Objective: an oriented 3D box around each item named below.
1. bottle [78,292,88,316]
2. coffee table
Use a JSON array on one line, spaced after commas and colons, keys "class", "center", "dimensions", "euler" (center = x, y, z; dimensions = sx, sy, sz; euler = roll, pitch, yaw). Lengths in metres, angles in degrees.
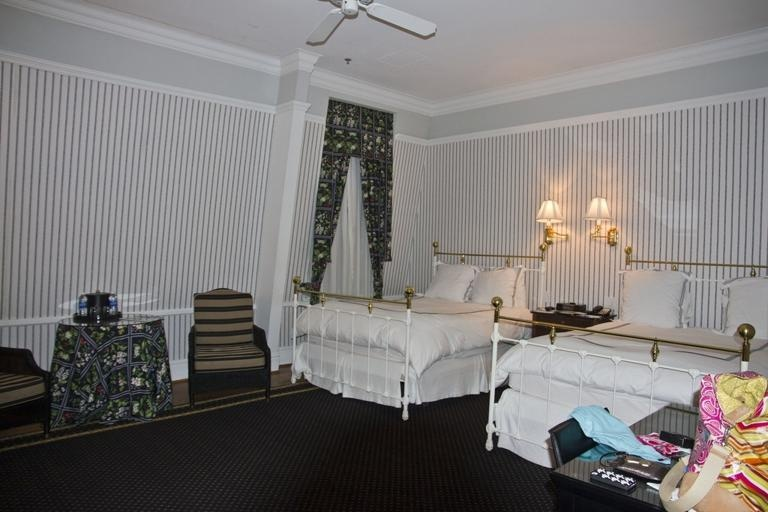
[{"class": "bottle", "center": [-3.132, 0.498, 5.146], "dimensions": [0.087, 0.203, 0.225], "euler": [-7, 14, -36]}, {"class": "coffee table", "center": [-2.901, 1.117, 5.170], "dimensions": [1.074, 0.933, 1.051], "euler": [0, 2, -44]}]
